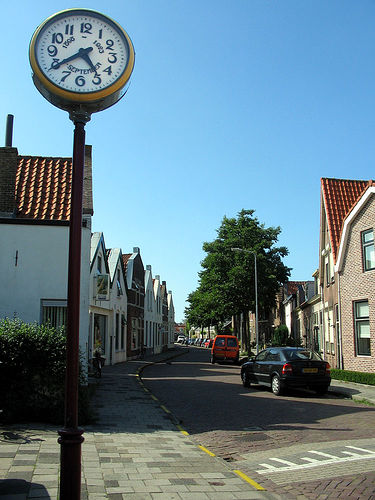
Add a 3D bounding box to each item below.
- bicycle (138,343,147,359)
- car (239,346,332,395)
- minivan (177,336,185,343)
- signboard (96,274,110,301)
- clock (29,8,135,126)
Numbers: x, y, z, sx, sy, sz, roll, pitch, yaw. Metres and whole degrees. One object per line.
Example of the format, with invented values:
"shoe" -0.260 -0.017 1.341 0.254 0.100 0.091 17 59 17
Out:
"bicycle" -3.818 8.301 38.232 0.560 1.201 2.102 0 -11 -5
"car" 3.169 4.177 16.228 1.794 1.505 4.106 3 -12 -22
"minivan" -1.873 25.021 131.244 1.703 1.585 2.809 2 -27 -5
"signboard" -4.015 1.701 21.766 0.629 1.245 0.648 2 -10 -19
"clock" -0.859 -1.469 3.755 0.821 0.909 0.304 3 -10 -22
